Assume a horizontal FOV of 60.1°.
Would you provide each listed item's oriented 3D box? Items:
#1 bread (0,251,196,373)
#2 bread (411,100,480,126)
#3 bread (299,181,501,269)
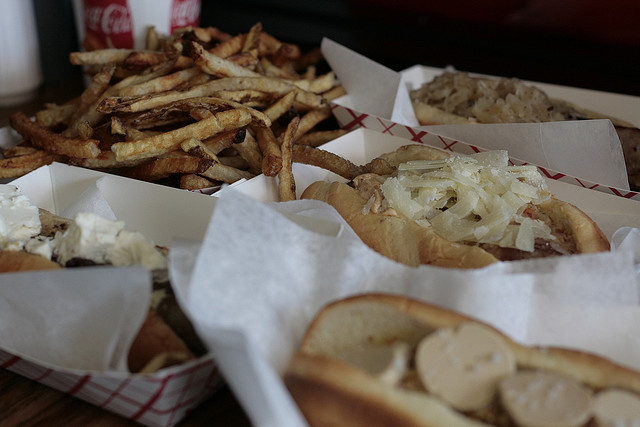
[{"bbox_3d":[-0.440,0.247,1.169,0.300,0.091,0.232,38,57,11],"label":"bread"},{"bbox_3d":[0.403,-0.351,1.890,0.275,0.063,0.272,-3,11,-19],"label":"bread"},{"bbox_3d":[0.185,0.012,1.224,0.355,0.118,0.197,27,19,17],"label":"bread"}]
